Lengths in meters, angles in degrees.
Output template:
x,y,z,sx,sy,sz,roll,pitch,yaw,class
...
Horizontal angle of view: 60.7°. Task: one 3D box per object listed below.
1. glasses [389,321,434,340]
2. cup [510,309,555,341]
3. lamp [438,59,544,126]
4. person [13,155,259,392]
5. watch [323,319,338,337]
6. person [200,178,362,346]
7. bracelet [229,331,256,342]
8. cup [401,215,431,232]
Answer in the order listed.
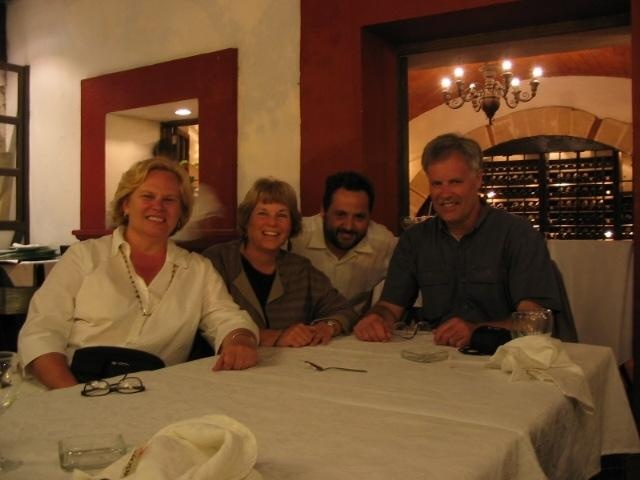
x,y,z,sx,sy,sz,roll,pitch,yaw,class
0.425,0.432,2.567,0.132,0.039,0.135,-6,2,12,glasses
0.770,0.301,1.998,0.111,0.082,0.112,-1,1,0,cup
1.433,-1.225,4.578,0.763,0.462,0.737,-1,-1,-23,lamp
-0.732,0.136,2.355,0.948,1.065,0.769,6,-6,-18,person
0.048,0.402,2.511,0.020,0.063,0.066,-16,47,-19,watch
-0.086,0.060,2.867,0.963,0.826,0.683,6,-12,-38,person
-0.303,0.387,2.202,0.069,0.025,0.056,0,-3,39,bracelet
0.720,-0.141,4.220,0.219,0.097,0.216,-2,2,0,cup
